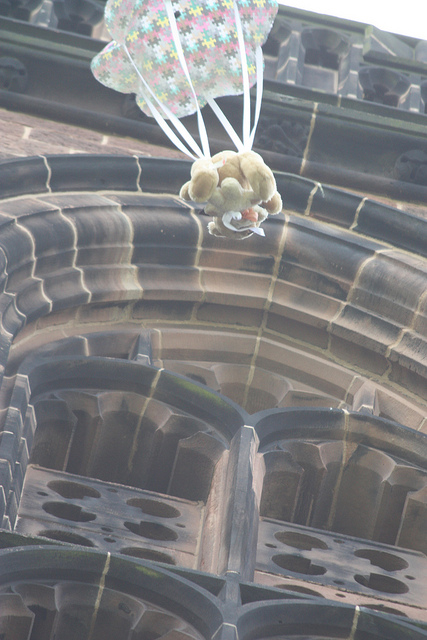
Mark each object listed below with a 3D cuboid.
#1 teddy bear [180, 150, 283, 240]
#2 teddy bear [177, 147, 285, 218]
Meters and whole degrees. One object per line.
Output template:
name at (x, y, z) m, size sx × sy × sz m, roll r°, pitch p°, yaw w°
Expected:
teddy bear at (0.138, -0.676, 8.009) m, size 0.512 × 0.460 × 0.364 m, roll -7°, pitch -22°, yaw 41°
teddy bear at (0.071, -0.688, 8.055) m, size 0.535 × 0.433 × 0.418 m, roll 7°, pitch -44°, yaw 6°
